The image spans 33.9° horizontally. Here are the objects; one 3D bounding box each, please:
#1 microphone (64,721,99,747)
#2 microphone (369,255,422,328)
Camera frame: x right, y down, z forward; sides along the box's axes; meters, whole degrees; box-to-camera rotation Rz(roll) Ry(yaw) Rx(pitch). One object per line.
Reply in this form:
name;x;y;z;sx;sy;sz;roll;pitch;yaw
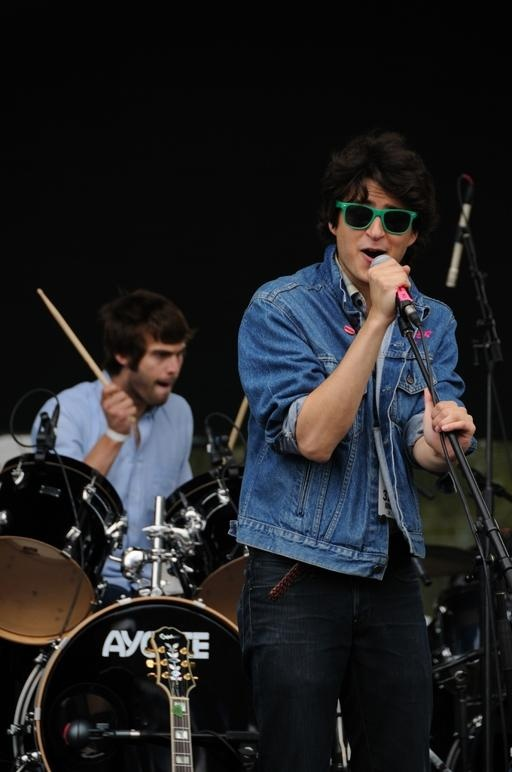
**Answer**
microphone;-0.440;0.866;2.087;0.080;0.054;0.058;-1;19;12
microphone;0.202;-0.139;1.258;0.046;0.167;0.042;-6;-53;-2
